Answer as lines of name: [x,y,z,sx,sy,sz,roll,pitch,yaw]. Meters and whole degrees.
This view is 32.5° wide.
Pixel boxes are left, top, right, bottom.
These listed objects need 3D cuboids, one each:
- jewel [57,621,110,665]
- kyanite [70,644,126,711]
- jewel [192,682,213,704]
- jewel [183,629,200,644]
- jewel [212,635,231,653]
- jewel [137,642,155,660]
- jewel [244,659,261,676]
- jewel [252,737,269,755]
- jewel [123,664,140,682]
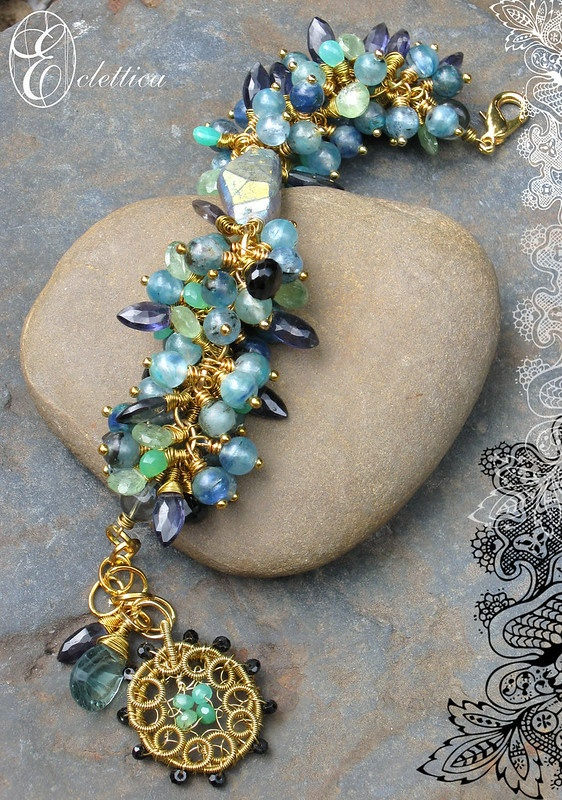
jewel: [-0.379,0.457,1.813,0.098,0.031,0.056,-35,102,-21]
kyanite: [-0.335,0.501,1.767,0.110,0.044,0.113,17,80,2]
jewel: [-0.146,0.538,1.773,0.042,0.021,0.034,-12,79,-8]
jewel: [-0.174,0.456,1.838,0.026,0.030,0.036,-3,47,-2]
jewel: [-0.115,0.468,1.836,0.031,0.040,0.032,3,49,3]
jewel: [-0.252,0.472,1.810,0.039,0.008,0.031,-8,76,-13]
jewel: [-0.056,0.506,1.823,0.028,0.030,0.033,12,49,12]
jewel: [-0.037,0.639,1.777,0.022,0.051,0.028,25,55,21]
jewel: [-0.281,0.508,1.793,0.027,0.010,0.030,7,78,18]
